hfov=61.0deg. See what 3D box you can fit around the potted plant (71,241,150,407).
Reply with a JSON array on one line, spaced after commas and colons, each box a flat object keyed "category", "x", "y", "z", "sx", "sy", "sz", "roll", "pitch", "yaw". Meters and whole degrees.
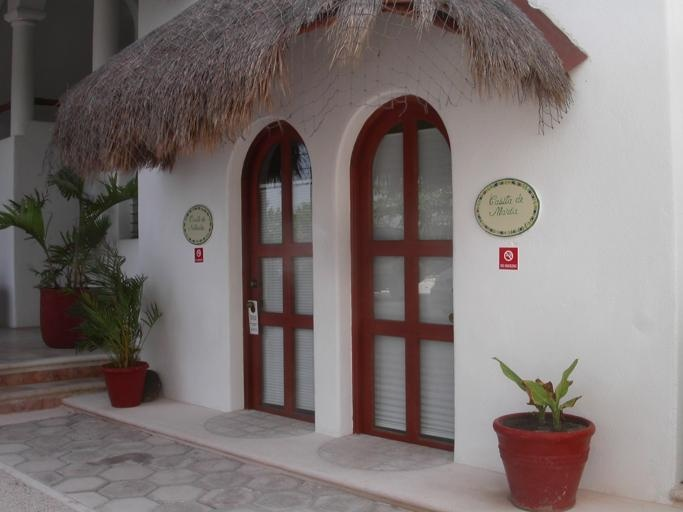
[{"category": "potted plant", "x": -2.417, "y": 0.759, "z": 6.287, "sx": 0.828, "sy": 1.614, "sz": 0.753, "roll": -6, "pitch": 6, "yaw": -40}]
